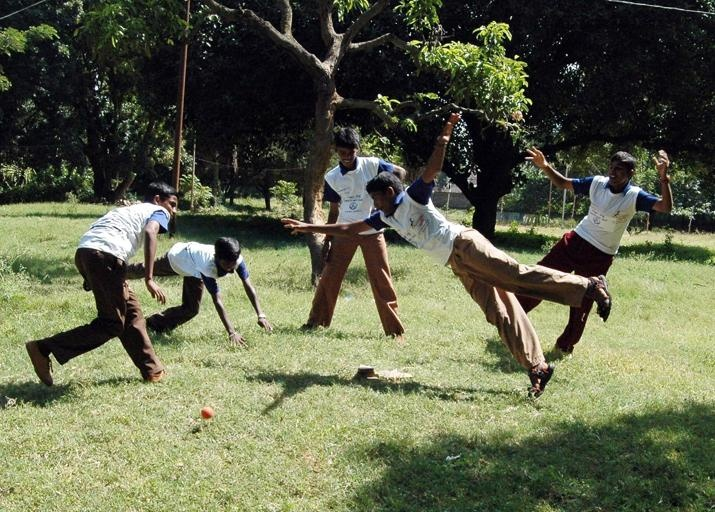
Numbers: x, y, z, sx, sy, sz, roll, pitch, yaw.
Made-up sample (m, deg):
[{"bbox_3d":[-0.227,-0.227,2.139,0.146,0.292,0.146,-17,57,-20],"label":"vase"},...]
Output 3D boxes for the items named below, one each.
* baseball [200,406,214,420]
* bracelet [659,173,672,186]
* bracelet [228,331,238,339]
[{"bbox_3d":[-1.965,2.052,10.339,0.142,0.146,0.139,43,-20,-21],"label":"baseball"},{"bbox_3d":[4.656,-1.150,12.014,0.241,0.107,0.284,5,6,15],"label":"bracelet"},{"bbox_3d":[-1.895,1.222,12.133,0.155,0.120,0.114,1,14,-6],"label":"bracelet"}]
